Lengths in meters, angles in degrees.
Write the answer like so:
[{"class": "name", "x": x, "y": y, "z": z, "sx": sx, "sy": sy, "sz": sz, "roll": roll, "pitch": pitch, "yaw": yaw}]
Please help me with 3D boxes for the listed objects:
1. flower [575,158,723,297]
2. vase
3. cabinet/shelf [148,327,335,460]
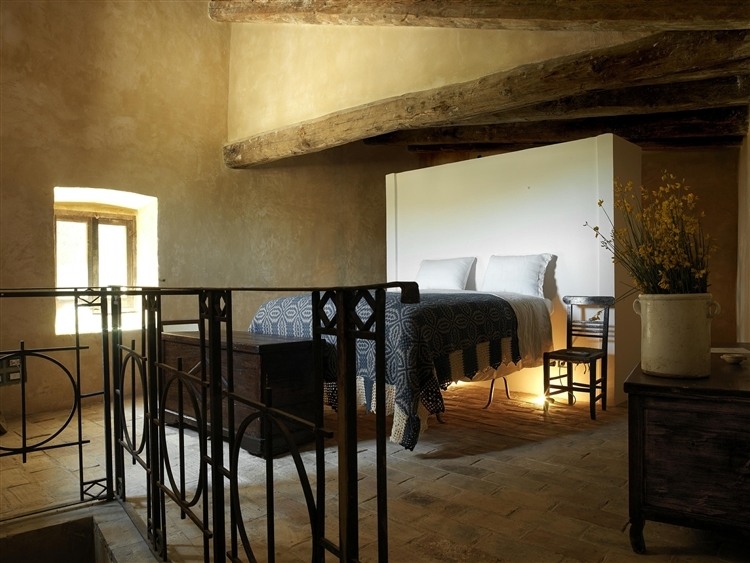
[{"class": "flower", "x": 1.674, "y": -0.222, "z": 3.767, "sx": 0.583, "sy": 0.804, "sz": 0.606, "roll": -16, "pitch": -1, "yaw": 21}, {"class": "vase", "x": 1.671, "y": 0.281, "z": 3.603, "sx": 0.291, "sy": 0.460, "sz": 0.452, "roll": -5, "pitch": 4, "yaw": -41}, {"class": "cabinet/shelf", "x": -1.145, "y": 0.838, "z": 5.300, "sx": 0.694, "sy": 0.798, "sz": 1.617, "roll": 0, "pitch": 1, "yaw": -42}]
